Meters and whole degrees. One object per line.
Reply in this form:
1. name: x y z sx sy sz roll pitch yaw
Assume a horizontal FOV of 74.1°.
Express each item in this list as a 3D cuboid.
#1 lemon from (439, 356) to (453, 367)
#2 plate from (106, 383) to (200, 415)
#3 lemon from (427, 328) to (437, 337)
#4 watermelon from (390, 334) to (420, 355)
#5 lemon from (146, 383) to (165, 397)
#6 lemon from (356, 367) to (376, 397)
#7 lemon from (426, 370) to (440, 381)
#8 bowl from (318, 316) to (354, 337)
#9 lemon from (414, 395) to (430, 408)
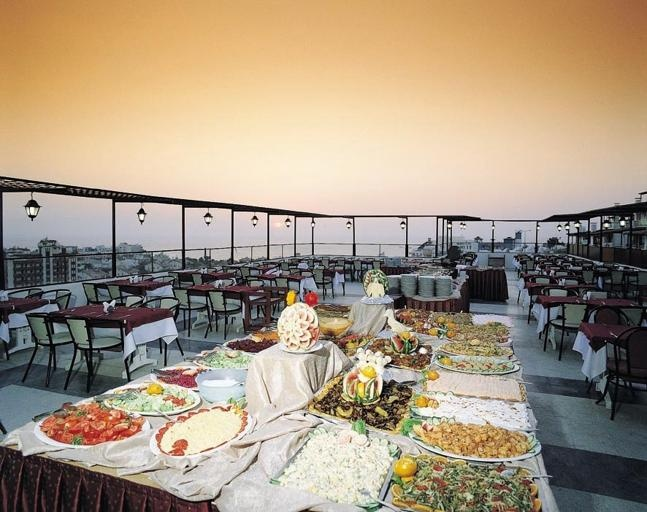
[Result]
1. lemon: 0.945 0.819 3.344 0.075 0.018 0.061 0 15 -13
2. plate: -1.110 0.926 2.744 0.306 0.048 0.286 6 3 24
3. lemon: 1.033 0.713 4.030 0.062 0.051 0.081 41 -30 -29
4. watermelon: 0.654 0.721 3.518 0.196 0.086 0.200 -7 8 -42
5. lemon: -1.134 0.890 2.861 0.097 0.065 0.077 -1 2 -4
6. lemon: 0.256 0.776 2.637 0.182 0.158 0.081 2 -16 7
7. lemon: 0.765 0.853 3.059 0.086 0.058 0.083 -2 -26 7
8. bowl: 0.067 0.627 3.853 0.213 0.062 0.213 0 3 0
9. lemon: 0.604 0.906 2.675 0.076 0.053 0.064 9 -25 -18
